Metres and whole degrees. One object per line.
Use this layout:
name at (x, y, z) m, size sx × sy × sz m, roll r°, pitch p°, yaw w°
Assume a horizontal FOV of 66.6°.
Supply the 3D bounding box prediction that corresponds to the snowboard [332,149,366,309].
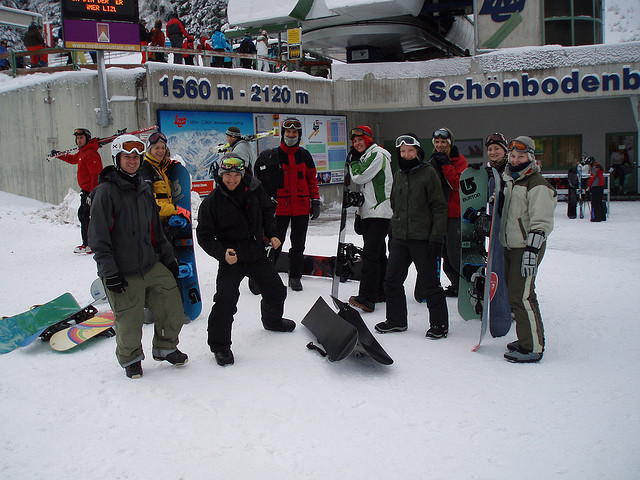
snowboard at (0.304, -0.070, 6.021) m, size 0.302 × 2.086 × 0.344 m, roll 4°, pitch 3°, yaw 38°

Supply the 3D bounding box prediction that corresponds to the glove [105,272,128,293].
glove at (-1.684, 0.362, 4.030) m, size 0.171 × 0.198 × 0.115 m, roll -11°, pitch 16°, yaw -39°

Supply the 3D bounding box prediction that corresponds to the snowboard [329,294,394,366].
snowboard at (0.348, 0.834, 4.426) m, size 0.206 × 0.119 × 0.767 m, roll 4°, pitch 33°, yaw -42°

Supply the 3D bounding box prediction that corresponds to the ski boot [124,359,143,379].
ski boot at (-1.622, 1.130, 4.223) m, size 0.132 × 0.141 × 0.104 m, roll -7°, pitch 14°, yaw -27°

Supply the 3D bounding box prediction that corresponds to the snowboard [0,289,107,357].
snowboard at (-2.881, 0.872, 5.221) m, size 0.318 × 0.146 × 1.015 m, roll 26°, pitch 23°, yaw 11°

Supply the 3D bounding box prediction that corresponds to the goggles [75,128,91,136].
goggles at (-4.048, -1.841, 8.252) m, size 0.237 × 0.086 × 0.134 m, roll -11°, pitch 16°, yaw -36°

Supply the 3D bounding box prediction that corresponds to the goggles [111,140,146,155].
goggles at (-1.651, -0.801, 4.186) m, size 0.276 × 0.128 × 0.165 m, roll -7°, pitch 14°, yaw -26°

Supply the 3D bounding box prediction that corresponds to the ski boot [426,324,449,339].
ski boot at (1.156, 0.921, 4.840) m, size 0.271 × 0.127 × 0.097 m, roll 4°, pitch -5°, yaw -44°

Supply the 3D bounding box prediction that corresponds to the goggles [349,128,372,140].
goggles at (0.437, -1.196, 5.571) m, size 0.136 × 0.070 × 0.189 m, roll 3°, pitch -8°, yaw 41°

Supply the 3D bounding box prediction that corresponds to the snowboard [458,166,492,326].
snowboard at (1.582, 0.083, 5.046) m, size 0.240 × 1.657 × 0.362 m, roll -3°, pitch 10°, yaw -41°

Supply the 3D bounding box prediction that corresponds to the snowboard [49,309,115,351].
snowboard at (-2.469, 0.941, 4.991) m, size 0.226 × 0.128 × 0.868 m, roll 24°, pitch 22°, yaw 9°

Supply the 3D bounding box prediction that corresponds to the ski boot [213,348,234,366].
ski boot at (-0.872, 1.069, 4.419) m, size 0.098 × 0.084 × 0.189 m, roll -3°, pitch 20°, yaw -27°

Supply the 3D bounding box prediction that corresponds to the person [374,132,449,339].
person at (0.959, -0.056, 4.977) m, size 0.760 × 2.004 × 0.641 m, roll 2°, pitch 13°, yaw 14°

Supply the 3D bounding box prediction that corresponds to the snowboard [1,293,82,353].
snowboard at (-2.879, 0.813, 5.143) m, size 0.332 × 0.142 × 1.022 m, roll 46°, pitch 32°, yaw 8°

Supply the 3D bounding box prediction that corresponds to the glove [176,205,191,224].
glove at (-1.495, -0.274, 5.288) m, size 0.141 × 0.184 × 0.184 m, roll -4°, pitch 13°, yaw -14°

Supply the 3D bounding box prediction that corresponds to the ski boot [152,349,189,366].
ski boot at (-1.355, 1.042, 4.441) m, size 0.354 × 0.173 × 0.130 m, roll 2°, pitch 19°, yaw -14°

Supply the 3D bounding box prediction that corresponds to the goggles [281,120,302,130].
goggles at (-0.373, -1.478, 6.212) m, size 0.232 × 0.119 × 0.150 m, roll -3°, pitch 13°, yaw -10°

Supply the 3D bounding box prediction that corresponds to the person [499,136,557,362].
person at (1.856, 0.075, 4.386) m, size 0.482 × 1.956 × 0.665 m, roll 4°, pitch 13°, yaw 21°

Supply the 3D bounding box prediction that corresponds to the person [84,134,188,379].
person at (-1.609, 0.146, 4.224) m, size 0.698 × 2.071 × 0.484 m, roll -6°, pitch 14°, yaw -23°

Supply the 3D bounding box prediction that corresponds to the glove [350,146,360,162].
glove at (0.408, -1.022, 5.761) m, size 0.099 × 0.172 × 0.158 m, roll 8°, pitch 6°, yaw 18°

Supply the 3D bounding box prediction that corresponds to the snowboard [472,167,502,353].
snowboard at (1.575, 0.155, 4.495) m, size 0.147 × 2.020 × 0.216 m, roll 4°, pitch -1°, yaw 18°

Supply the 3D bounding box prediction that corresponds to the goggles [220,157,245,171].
goggles at (-0.826, -0.715, 4.546) m, size 0.235 × 0.122 × 0.190 m, roll -4°, pitch 13°, yaw -14°

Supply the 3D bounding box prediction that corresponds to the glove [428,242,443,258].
glove at (1.122, 0.098, 4.786) m, size 0.130 × 0.164 × 0.091 m, roll 2°, pitch 13°, yaw 12°

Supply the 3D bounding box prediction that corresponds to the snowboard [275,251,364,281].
snowboard at (-0.024, 0.380, 7.126) m, size 1.486 × 0.368 × 0.205 m, roll 8°, pitch -16°, yaw -26°

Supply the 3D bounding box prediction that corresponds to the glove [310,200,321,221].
glove at (-0.084, -0.414, 6.528) m, size 0.078 × 0.226 × 0.163 m, roll 2°, pitch -7°, yaw 45°

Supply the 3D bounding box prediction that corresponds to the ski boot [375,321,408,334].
ski boot at (0.730, 0.914, 5.020) m, size 0.301 × 0.147 × 0.132 m, roll 4°, pitch 3°, yaw -2°

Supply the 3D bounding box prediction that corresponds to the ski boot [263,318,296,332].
ski boot at (-0.444, 0.887, 5.150) m, size 0.323 × 0.144 × 0.131 m, roll -4°, pitch 16°, yaw -3°

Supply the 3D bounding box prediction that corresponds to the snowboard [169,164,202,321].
snowboard at (-1.490, 0.025, 5.356) m, size 0.387 × 1.699 × 0.254 m, roll -9°, pitch 12°, yaw -24°

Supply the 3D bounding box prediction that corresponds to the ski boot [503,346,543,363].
ski boot at (1.781, 1.040, 4.311) m, size 0.331 × 0.171 × 0.133 m, roll 3°, pitch 2°, yaw 9°

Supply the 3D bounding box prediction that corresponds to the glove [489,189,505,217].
glove at (1.650, -0.350, 4.492) m, size 0.108 × 0.235 × 0.034 m, roll 3°, pitch 3°, yaw 1°

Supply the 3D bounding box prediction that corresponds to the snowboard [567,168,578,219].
snowboard at (6.804, -1.261, 13.128) m, size 0.315 × 1.339 × 0.585 m, roll 6°, pitch 14°, yaw 28°

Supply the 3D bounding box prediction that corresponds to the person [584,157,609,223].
person at (7.094, -1.281, 12.507) m, size 0.715 × 1.501 × 1.384 m, roll 7°, pitch 15°, yaw 30°

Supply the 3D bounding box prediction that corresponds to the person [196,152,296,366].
person at (-0.774, 0.112, 4.690) m, size 0.515 × 1.867 × 1.016 m, roll 8°, pitch 15°, yaw 33°

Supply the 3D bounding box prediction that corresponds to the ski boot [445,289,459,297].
ski boot at (1.655, 0.676, 6.147) m, size 0.205 × 0.092 × 0.072 m, roll 4°, pitch 3°, yaw 11°

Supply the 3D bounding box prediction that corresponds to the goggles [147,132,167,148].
goggles at (-1.731, -1.070, 5.191) m, size 0.195 × 0.149 × 0.228 m, roll 12°, pitch 18°, yaw 43°

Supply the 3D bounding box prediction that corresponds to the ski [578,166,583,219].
ski at (6.924, -1.325, 12.960) m, size 0.138 × 1.407 × 0.203 m, roll -1°, pitch 12°, yaw 17°

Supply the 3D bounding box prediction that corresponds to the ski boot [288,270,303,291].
ski boot at (-0.340, 0.575, 6.573) m, size 0.093 × 0.125 × 0.262 m, roll -16°, pitch 30°, yaw -33°

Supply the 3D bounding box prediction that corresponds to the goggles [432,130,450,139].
goggles at (1.368, -1.209, 5.546) m, size 0.189 × 0.098 × 0.148 m, roll 4°, pitch 14°, yaw 20°

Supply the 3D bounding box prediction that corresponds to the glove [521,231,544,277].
glove at (1.860, 0.127, 4.259) m, size 0.249 × 0.425 × 0.137 m, roll -12°, pitch 17°, yaw -41°
